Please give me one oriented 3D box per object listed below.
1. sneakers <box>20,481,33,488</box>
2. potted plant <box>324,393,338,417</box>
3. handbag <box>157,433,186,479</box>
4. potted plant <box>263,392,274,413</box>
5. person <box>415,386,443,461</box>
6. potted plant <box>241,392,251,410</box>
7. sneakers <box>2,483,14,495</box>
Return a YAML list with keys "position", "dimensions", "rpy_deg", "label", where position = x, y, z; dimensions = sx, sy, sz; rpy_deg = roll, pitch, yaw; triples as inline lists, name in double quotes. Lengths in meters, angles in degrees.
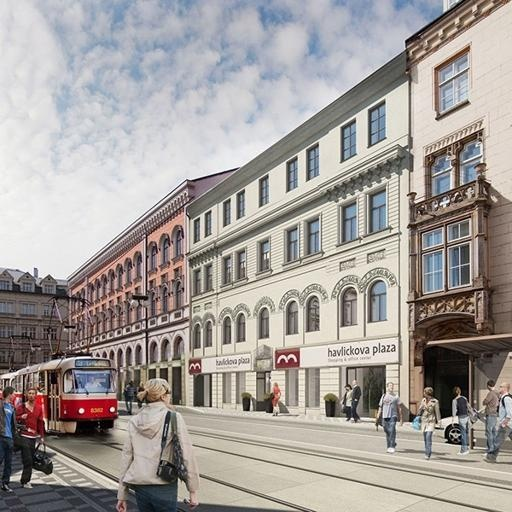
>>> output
- position: [-4.398, 4.398, 13.076]
  dimensions: [0.103, 0.156, 0.304]
  rpy_deg: [9, -17, -43]
  label: "sneakers"
- position: [3.414, 6.841, 31.224]
  dimensions: [0.635, 1.051, 0.499]
  rpy_deg: [-3, -14, 12]
  label: "potted plant"
- position: [-1.038, 2.360, 7.921]
  dimensions: [0.204, 0.535, 0.311]
  rpy_deg: [-13, -21, 27]
  label: "handbag"
- position: [0.667, 7.683, 35.447]
  dimensions: [0.594, 1.260, 0.727]
  rpy_deg: [-4, -13, 26]
  label: "potted plant"
- position: [4.270, 4.100, 16.859]
  dimensions: [0.484, 1.837, 0.433]
  rpy_deg: [7, 20, 31]
  label: "person"
- position: [-0.577, 8.210, 38.336]
  dimensions: [0.511, 1.092, 0.612]
  rpy_deg: [0, -14, 1]
  label: "potted plant"
- position: [-4.703, 4.408, 12.830]
  dimensions: [0.113, 0.194, 0.354]
  rpy_deg: [4, -12, -40]
  label: "sneakers"
